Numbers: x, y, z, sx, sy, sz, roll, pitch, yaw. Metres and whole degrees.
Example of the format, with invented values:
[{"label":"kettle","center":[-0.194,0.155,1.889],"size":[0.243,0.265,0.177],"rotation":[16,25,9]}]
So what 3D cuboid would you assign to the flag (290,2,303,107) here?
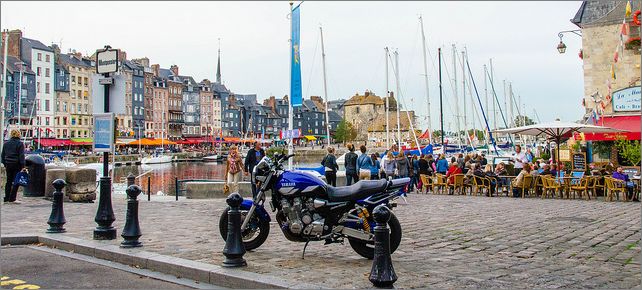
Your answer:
[{"label":"flag","center":[-2.423,-8.441,60.868],"size":[0.964,9.417,1.143],"rotation":[-1,-4,-6]}]

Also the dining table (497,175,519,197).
[{"label":"dining table","center":[15.711,3.483,55.974],"size":[2.212,1.963,1.723],"rotation":[3,5,37]}]

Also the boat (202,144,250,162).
[{"label":"boat","center":[-16.709,1.281,111.690],"size":[2.950,2.482,13.944],"rotation":[1,4,9]}]

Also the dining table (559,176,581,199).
[{"label":"dining table","center":[20.273,3.524,53.892],"size":[1.917,1.627,1.803],"rotation":[-1,-6,17]}]
